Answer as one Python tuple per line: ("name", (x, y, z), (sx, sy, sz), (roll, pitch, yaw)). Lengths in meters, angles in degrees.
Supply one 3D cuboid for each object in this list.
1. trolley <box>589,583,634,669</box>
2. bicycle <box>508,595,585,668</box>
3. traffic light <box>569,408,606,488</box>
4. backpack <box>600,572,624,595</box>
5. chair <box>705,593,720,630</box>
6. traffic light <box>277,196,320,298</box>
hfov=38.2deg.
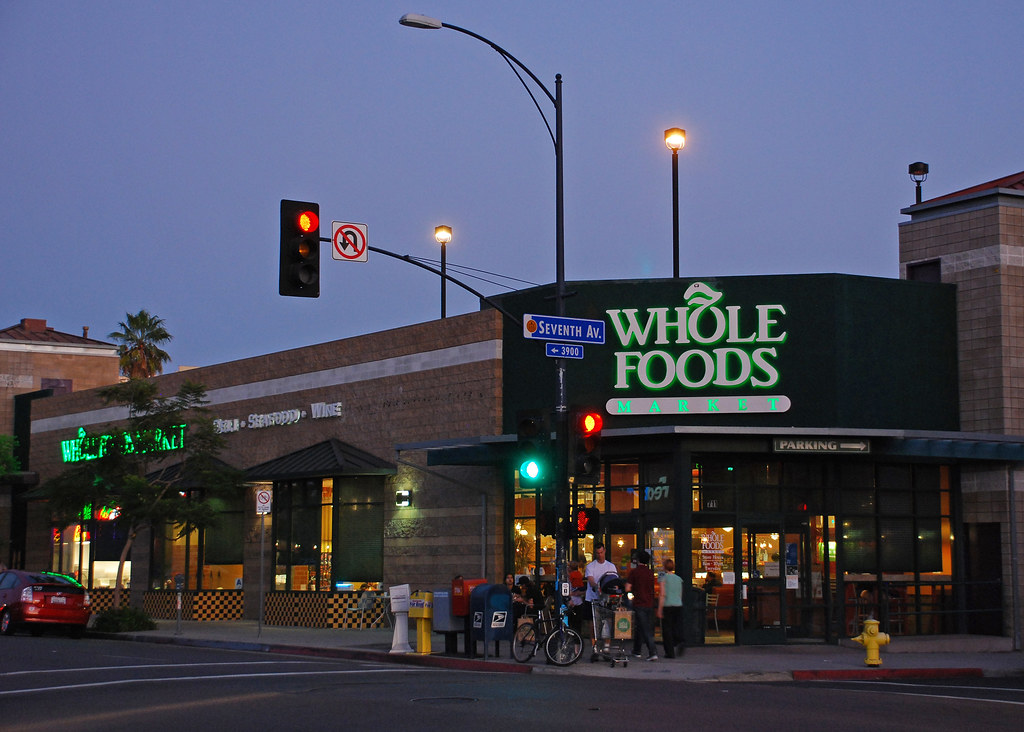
("trolley", (2.284, 5.710, 33.057), (0.886, 1.620, 1.741), (2, 14, 3))
("bicycle", (0.934, 6.125, 33.146), (0.990, 1.297, 1.945), (12, -19, -32))
("traffic light", (1.647, 1.832, 32.436), (0.652, 1.699, 0.768), (1, 13, -4))
("backpack", (2.288, 4.901, 33.379), (0.431, 0.399, 0.394), (12, -18, -32))
("chair", (5.113, 6.164, 37.147), (0.301, 0.840, 0.293), (2, 13, 2))
("traffic light", (-4.209, -2.257, 29.160), (0.759, 1.928, 0.662), (-1, 14, -11))
